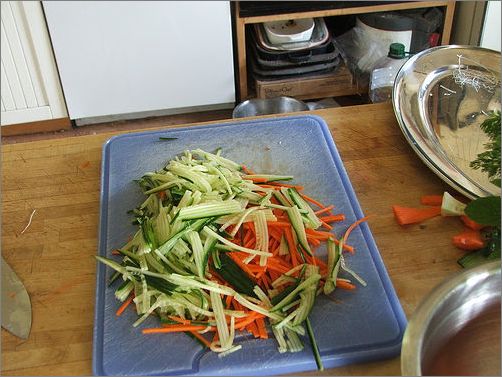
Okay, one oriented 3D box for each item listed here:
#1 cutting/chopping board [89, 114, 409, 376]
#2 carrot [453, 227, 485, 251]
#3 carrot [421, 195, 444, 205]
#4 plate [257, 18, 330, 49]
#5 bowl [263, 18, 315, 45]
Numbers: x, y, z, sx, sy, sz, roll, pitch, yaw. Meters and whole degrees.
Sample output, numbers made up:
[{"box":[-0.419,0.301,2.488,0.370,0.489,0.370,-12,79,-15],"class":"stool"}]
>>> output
[{"box":[-0.051,0.083,1.076,0.685,0.306,0.762,-6,28,-5],"class":"cutting/chopping board"},{"box":[0.510,0.119,0.982,0.061,0.023,0.042,-24,38,-16],"class":"carrot"},{"box":[0.468,0.033,1.081,0.050,0.019,0.029,3,30,12],"class":"carrot"},{"box":[0.228,-0.894,2.337,0.267,0.068,0.262,-15,48,1],"class":"plate"},{"box":[0.231,-0.857,2.298,0.298,0.122,0.163,-7,31,-8],"class":"bowl"}]
